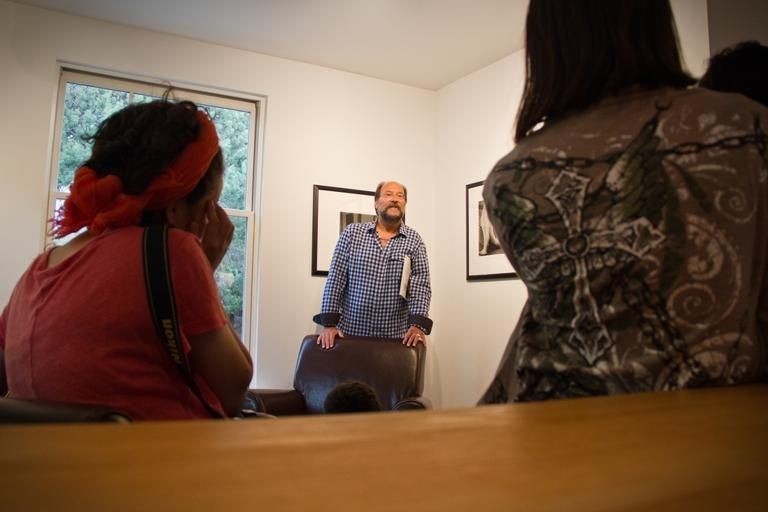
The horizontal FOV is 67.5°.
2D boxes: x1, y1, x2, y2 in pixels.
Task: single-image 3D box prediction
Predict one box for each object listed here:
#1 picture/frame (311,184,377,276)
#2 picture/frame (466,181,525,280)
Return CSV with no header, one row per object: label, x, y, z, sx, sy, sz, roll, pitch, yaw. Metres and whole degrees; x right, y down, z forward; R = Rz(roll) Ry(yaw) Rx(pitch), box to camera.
picture/frame,-0.203,-0.111,2.695,0.429,0.442,0.032,7,-17,-28
picture/frame,0.531,-0.140,2.559,0.024,0.491,0.497,3,-7,-33
